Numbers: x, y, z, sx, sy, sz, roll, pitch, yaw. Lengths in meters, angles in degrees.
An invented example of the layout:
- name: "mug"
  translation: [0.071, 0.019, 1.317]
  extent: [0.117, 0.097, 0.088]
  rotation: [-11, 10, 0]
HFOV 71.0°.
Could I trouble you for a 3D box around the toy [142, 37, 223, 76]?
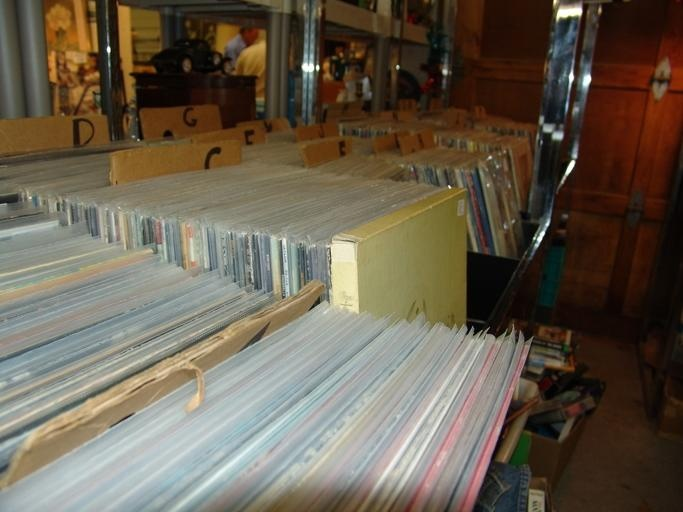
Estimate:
- name: "toy"
  translation: [-0.791, -1.065, 2.461]
  extent: [0.217, 0.147, 0.327]
  rotation: [14, 30, 23]
